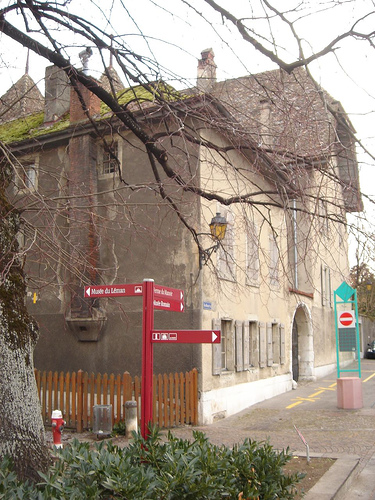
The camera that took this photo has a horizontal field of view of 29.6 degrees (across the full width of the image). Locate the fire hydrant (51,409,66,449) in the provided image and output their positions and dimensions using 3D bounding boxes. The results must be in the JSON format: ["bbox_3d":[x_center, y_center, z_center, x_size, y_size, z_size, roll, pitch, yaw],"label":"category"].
[{"bbox_3d":[-1.664,2.342,9.084,0.187,0.506,0.187,1,7,14],"label":"fire hydrant"}]

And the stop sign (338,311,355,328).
[{"bbox_3d":[3.857,1.709,17.200,0.414,0.418,0.204,2,-6,22],"label":"stop sign"}]
